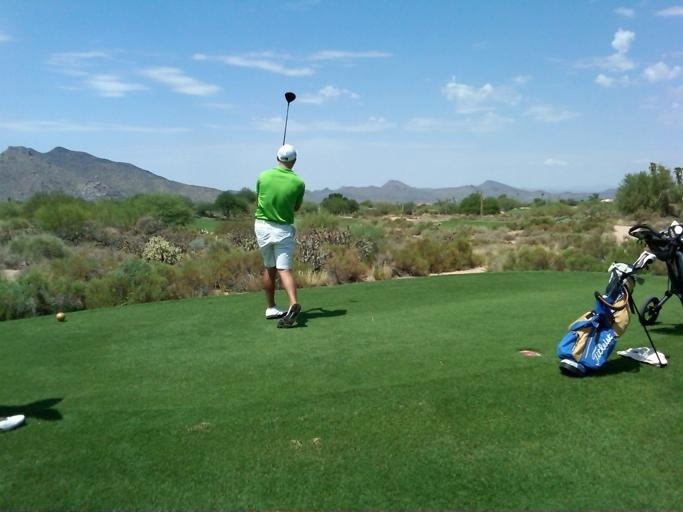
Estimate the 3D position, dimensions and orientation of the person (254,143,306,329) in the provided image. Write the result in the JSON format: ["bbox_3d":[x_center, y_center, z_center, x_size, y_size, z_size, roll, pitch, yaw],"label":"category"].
[{"bbox_3d":[-0.898,-0.288,7.516,0.720,2.669,1.100,-4,12,-10],"label":"person"}]

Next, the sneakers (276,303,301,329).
[{"bbox_3d":[-0.722,0.869,7.232,0.200,0.477,0.218,35,-1,5],"label":"sneakers"}]

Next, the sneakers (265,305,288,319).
[{"bbox_3d":[-1.031,0.862,7.852,0.432,0.217,0.168,-1,5,-2],"label":"sneakers"}]
